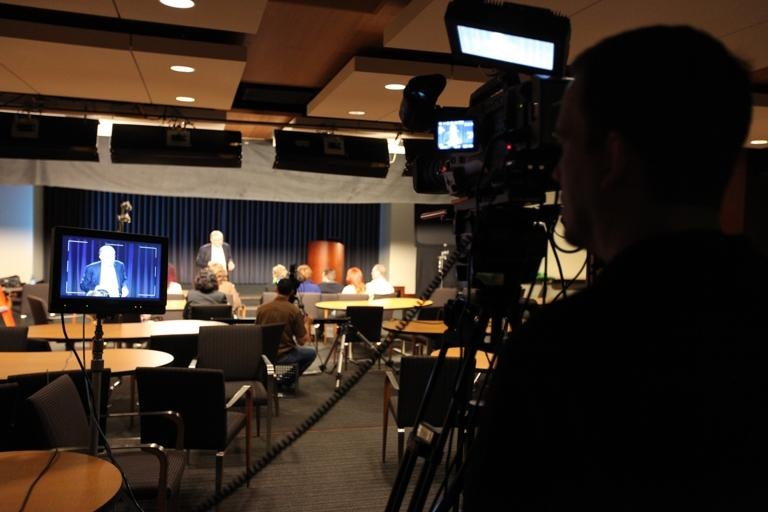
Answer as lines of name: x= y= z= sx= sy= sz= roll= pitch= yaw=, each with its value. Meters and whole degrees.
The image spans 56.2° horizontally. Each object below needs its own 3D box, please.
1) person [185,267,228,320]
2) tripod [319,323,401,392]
person: x=-1.566 y=0.347 z=6.475 sx=0.349 sy=0.721 sz=0.367 roll=1 pitch=15 yaw=-7
tripod: x=-0.201 y=0.890 z=6.196 sx=0.579 sy=0.776 sz=0.714 roll=13 pitch=-11 yaw=4
